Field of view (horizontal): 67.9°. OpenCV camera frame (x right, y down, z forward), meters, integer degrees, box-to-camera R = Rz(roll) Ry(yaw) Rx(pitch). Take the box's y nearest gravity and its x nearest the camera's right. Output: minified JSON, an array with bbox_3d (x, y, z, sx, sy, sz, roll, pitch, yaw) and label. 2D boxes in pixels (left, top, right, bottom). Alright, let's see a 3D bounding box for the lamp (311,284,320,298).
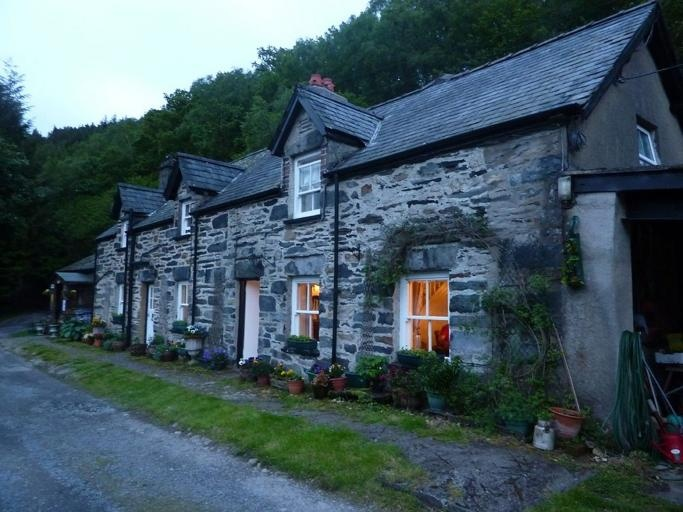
[{"bbox_3d":[-0.605,0.817,11.803,0.130,0.329,0.468,-3,5,-16],"label":"lamp"}]
